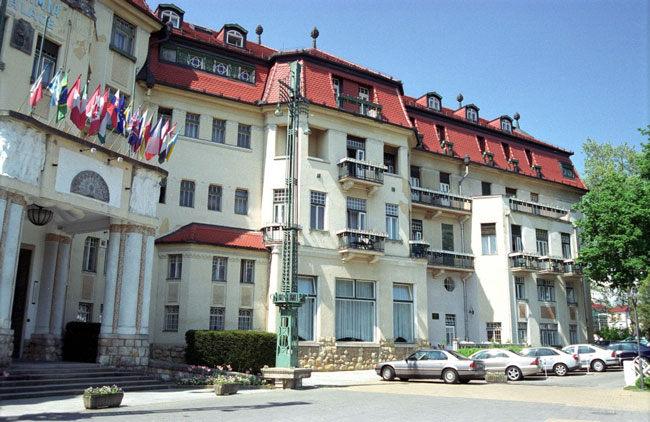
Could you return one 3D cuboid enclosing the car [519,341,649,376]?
[{"bbox_3d":[17.087,10.202,36.119,7.129,2.143,1.684,6,-20,-21],"label":"car"}]

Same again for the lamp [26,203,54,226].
[{"bbox_3d":[-15.326,0.217,28.239,1.184,1.304,1.157,5,-13,-42],"label":"lamp"}]

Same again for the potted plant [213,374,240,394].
[{"bbox_3d":[-4.931,8.810,26.566,0.842,0.614,1.316,-13,-24,30],"label":"potted plant"}]
